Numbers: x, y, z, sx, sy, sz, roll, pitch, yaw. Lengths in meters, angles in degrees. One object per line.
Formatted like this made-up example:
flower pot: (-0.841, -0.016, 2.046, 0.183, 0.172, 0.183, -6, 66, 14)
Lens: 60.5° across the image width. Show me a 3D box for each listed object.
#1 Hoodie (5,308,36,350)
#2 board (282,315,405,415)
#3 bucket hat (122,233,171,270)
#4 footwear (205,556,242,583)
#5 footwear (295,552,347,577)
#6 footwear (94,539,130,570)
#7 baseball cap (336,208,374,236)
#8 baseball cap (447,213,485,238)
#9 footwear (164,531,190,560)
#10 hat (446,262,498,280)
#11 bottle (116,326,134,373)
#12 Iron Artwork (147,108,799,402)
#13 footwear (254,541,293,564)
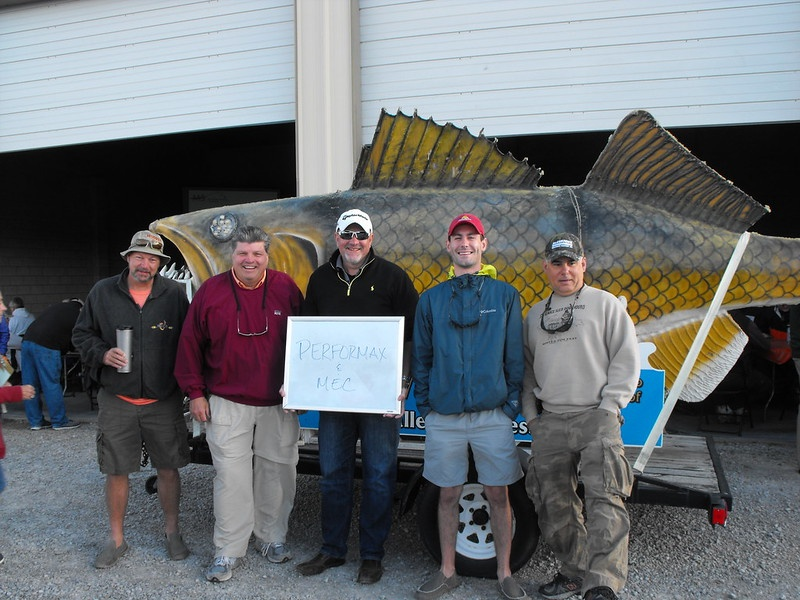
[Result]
Hoodie: (-5.882, 0.460, 10.625, 0.323, 0.591, 0.600, 8, 10, 24)
board: (-0.466, 0.508, 5.571, 0.976, 0.741, 0.227, 1, 10, 8)
bucket hat: (-2.251, -0.495, 6.124, 0.320, 0.205, 0.367, 5, -19, -21)
footwear: (-1.504, 2.249, 5.762, 0.143, 0.130, 0.304, 0, -13, 3)
footwear: (-0.684, 2.208, 5.870, 0.441, 0.192, 0.161, 1, 2, -24)
footwear: (-2.532, 2.212, 6.039, 0.141, 0.140, 0.320, -1, 0, 8)
baseball cap: (-0.373, -0.638, 5.648, 0.247, 0.195, 0.165, -6, 12, -31)
baseball cap: (0.564, -0.648, 5.651, 0.282, 0.204, 0.450, 2, 20, 10)
footwear: (-1.959, 2.156, 6.058, 0.117, 0.125, 0.306, 1, -2, -24)
hat: (0.631, -0.243, 5.741, 0.247, 0.133, 0.192, -3, -3, 17)
bottle: (-2.343, 0.432, 5.870, 0.133, 0.393, 0.127, 0, 10, 0)
Iron Artwork: (-0.745, -0.715, 8.311, 10.077, 4.223, 2.106, 0, 5, 5)
footwear: (-1.100, 2.185, 6.024, 0.271, 0.119, 0.145, 0, -4, 29)
